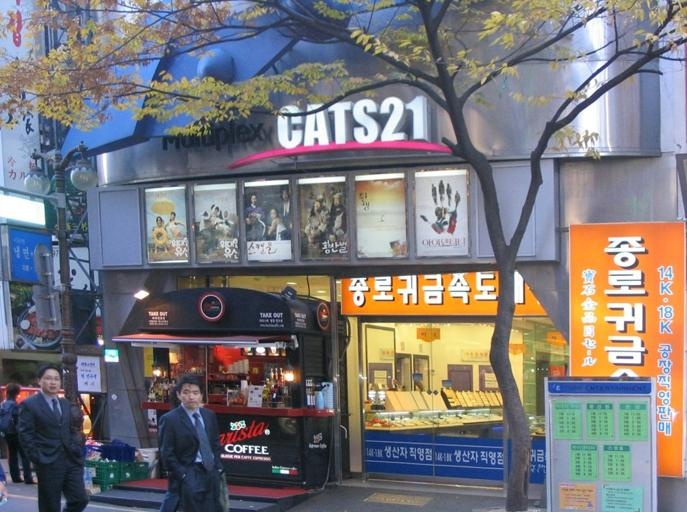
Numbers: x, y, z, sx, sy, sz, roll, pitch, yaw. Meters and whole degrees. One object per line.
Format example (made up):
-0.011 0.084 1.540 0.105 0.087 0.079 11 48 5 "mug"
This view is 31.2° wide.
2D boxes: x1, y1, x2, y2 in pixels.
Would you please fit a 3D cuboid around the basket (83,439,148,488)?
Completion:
-4.259 3.904 22.994 0.925 0.527 1.550 2 -9 -21 "basket"
